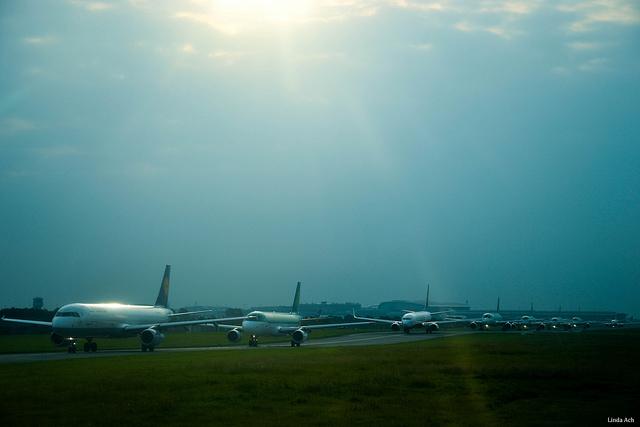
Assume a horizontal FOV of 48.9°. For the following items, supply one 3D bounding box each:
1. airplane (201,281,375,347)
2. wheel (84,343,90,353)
[{"bbox_3d":[-4.945,10.988,79.020,25.406,7.388,19.284,-1,-8,12],"label":"airplane"},{"bbox_3d":[-21.551,12.337,64.831,0.433,0.654,0.872,1,-3,-20],"label":"wheel"}]
